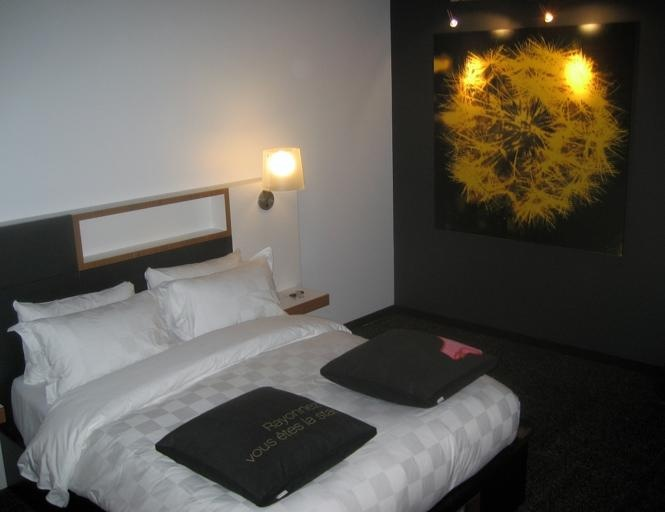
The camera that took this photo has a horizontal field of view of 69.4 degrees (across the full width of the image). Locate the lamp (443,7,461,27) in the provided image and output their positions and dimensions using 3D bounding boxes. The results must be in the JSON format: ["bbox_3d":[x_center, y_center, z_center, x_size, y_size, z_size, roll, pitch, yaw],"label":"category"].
[{"bbox_3d":[1.038,-2.096,4.206,0.118,0.171,0.053,12,21,38],"label":"lamp"}]

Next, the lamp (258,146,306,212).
[{"bbox_3d":[-0.410,-0.589,3.784,0.347,0.531,0.317,10,22,28],"label":"lamp"}]

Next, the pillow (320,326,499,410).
[{"bbox_3d":[0.411,0.608,2.609,0.774,0.118,0.616,-16,22,-39],"label":"pillow"}]

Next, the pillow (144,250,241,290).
[{"bbox_3d":[-0.961,0.088,3.338,0.344,0.105,0.295,-11,39,-42],"label":"pillow"}]
